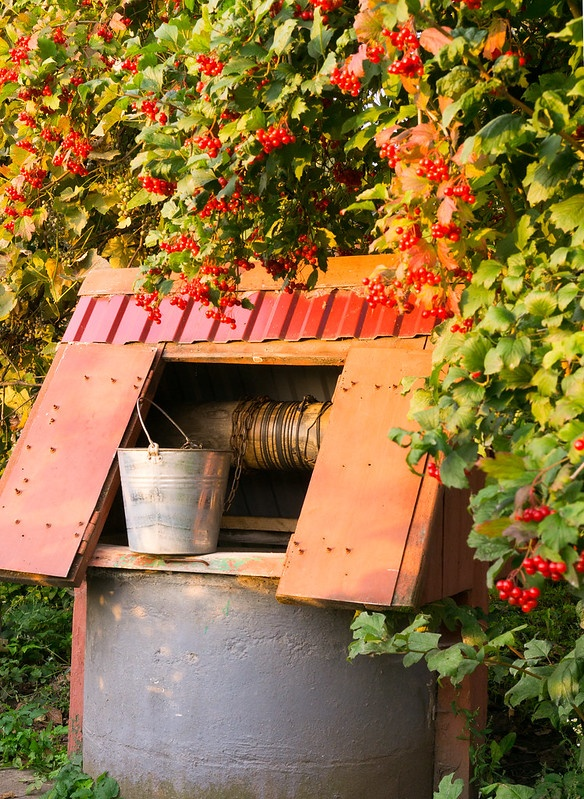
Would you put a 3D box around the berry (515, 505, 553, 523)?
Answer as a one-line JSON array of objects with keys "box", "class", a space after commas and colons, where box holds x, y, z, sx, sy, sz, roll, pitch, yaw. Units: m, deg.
[{"box": [0.442, 0.209, 1.531, 0.055, 0.027, 0.018, -2, 34, 26], "class": "berry"}]

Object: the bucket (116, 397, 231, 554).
[{"box": [-0.506, 0.334, 3.644, 0.537, 0.599, 0.484, -4, -7, 37], "class": "bucket"}]

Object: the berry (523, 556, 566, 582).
[{"box": [0.470, 0.307, 1.553, 0.079, 0.039, 0.031, 10, 19, 44], "class": "berry"}]
